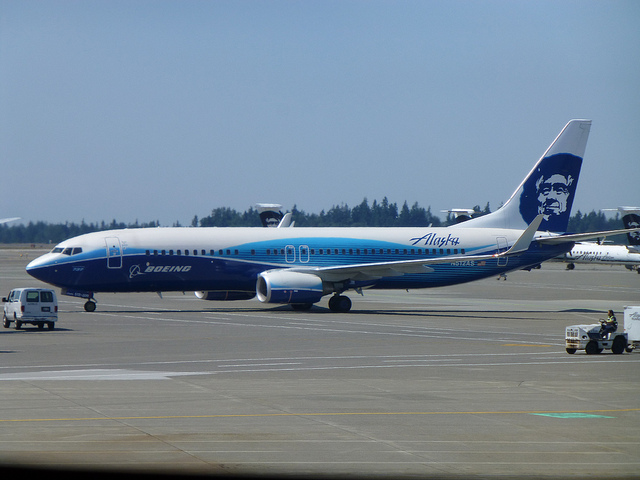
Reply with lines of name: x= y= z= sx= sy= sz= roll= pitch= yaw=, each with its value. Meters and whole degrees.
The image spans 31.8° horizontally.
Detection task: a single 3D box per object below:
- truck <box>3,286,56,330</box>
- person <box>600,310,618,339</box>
truck: x=-13.126 y=2.983 z=50.767 sx=1.885 sy=1.117 sz=2.598 roll=0 pitch=3 yaw=-26
person: x=11.210 y=3.338 z=43.896 sx=0.608 sy=1.096 sz=1.482 roll=1 pitch=-4 yaw=13
